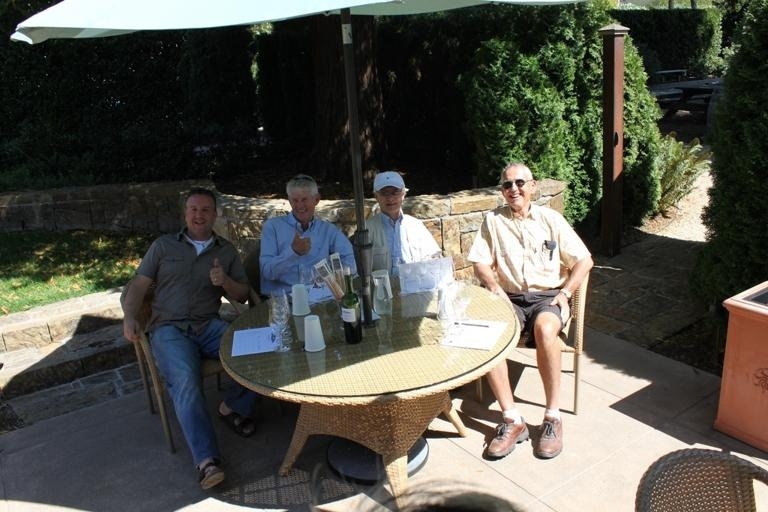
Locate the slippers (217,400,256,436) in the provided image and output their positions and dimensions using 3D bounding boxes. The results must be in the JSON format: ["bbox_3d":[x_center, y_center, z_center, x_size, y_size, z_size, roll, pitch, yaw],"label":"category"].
[{"bbox_3d":[-1.290,1.369,4.826,0.171,0.126,0.451,-32,53,-26],"label":"slippers"}]

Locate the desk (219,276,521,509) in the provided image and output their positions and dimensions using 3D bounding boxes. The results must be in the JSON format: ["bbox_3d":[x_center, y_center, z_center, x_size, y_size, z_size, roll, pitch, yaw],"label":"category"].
[{"bbox_3d":[-0.124,1.083,4.723,2.389,1.162,2.573,-5,14,-14],"label":"desk"}]

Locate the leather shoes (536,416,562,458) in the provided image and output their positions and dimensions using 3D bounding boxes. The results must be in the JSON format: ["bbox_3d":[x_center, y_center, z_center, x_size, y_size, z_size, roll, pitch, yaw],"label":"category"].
[{"bbox_3d":[1.306,1.421,4.397,0.204,0.234,0.259,1,17,18],"label":"leather shoes"}]

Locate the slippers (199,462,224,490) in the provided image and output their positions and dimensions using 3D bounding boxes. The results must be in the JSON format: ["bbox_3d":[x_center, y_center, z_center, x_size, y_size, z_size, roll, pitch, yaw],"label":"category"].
[{"bbox_3d":[-1.312,1.664,4.246,0.133,0.118,0.276,-20,-17,-14],"label":"slippers"}]

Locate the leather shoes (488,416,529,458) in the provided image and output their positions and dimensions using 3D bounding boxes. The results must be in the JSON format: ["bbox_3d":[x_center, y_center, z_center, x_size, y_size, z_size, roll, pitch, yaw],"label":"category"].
[{"bbox_3d":[0.991,1.390,4.507,0.165,0.245,0.475,5,23,43],"label":"leather shoes"}]

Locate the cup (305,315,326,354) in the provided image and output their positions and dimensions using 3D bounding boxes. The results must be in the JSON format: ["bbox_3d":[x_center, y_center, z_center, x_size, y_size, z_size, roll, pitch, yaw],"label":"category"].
[{"bbox_3d":[-0.507,0.545,3.988,0.202,0.261,0.213,-1,8,0],"label":"cup"}]

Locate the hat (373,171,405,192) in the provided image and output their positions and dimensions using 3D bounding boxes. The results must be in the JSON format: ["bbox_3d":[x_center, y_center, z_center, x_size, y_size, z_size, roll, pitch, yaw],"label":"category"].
[{"bbox_3d":[0.026,-0.645,5.009,0.258,0.203,0.437,-3,-7,-6],"label":"hat"}]

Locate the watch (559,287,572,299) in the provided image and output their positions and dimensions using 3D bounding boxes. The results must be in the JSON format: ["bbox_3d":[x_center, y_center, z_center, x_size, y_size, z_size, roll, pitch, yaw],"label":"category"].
[{"bbox_3d":[1.529,0.301,4.732,0.106,0.072,0.100,30,-13,-19],"label":"watch"}]

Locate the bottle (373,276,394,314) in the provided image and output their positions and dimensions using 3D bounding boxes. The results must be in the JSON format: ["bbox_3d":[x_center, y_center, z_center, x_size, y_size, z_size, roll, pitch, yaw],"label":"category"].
[{"bbox_3d":[-0.013,0.292,4.278,0.150,0.289,0.276,-2,26,-3],"label":"bottle"}]
